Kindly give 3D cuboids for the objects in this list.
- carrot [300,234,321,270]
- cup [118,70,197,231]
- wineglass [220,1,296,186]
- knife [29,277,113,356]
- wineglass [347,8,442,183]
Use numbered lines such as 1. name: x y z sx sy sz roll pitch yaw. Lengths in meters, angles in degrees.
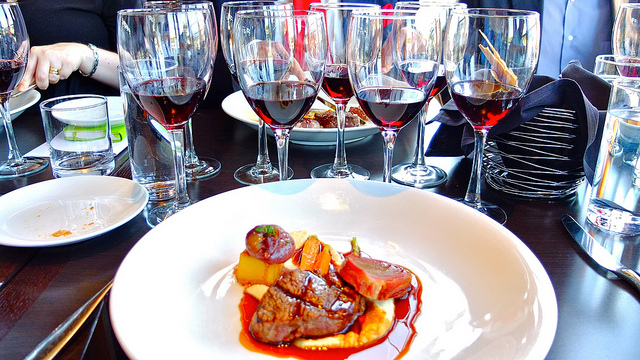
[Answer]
1. carrot: -0.026 0.203 1.199 0.033 0.026 0.100 20 65 6
2. cup: -0.512 -0.146 1.474 0.260 0.553 0.218 12 29 -9
3. wineglass: -0.200 -0.287 1.454 0.232 0.577 0.372 -4 28 -10
4. knife: -0.586 0.336 1.113 0.049 0.045 0.290 15 40 28
5. wineglass: 0.201 -0.251 1.299 0.248 0.490 0.196 18 32 29
